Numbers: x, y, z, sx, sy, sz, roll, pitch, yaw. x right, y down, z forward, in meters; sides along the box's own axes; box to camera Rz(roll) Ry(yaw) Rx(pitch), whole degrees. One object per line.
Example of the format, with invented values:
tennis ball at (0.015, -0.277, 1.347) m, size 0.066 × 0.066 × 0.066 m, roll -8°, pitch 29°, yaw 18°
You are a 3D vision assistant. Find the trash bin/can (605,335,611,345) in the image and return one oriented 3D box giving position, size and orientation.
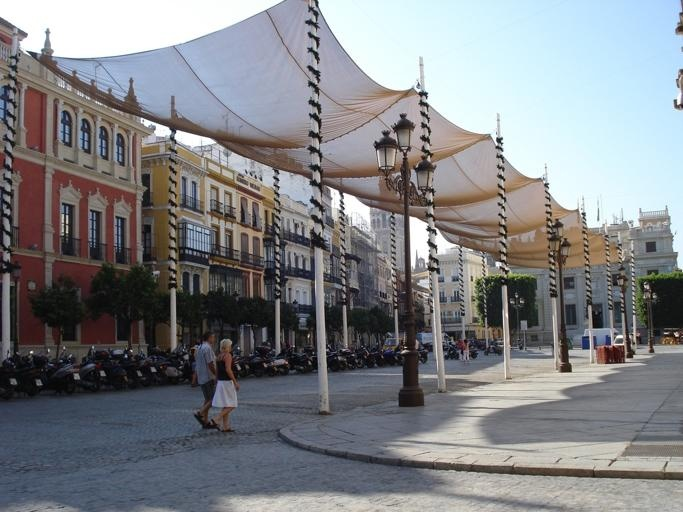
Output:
trash bin/can at (21.351, 6.647, 67.423) m, size 0.360 × 0.866 × 3.835 m, roll -6°, pitch -10°, yaw 15°

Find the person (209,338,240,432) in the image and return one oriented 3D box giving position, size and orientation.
person at (-2.651, 2.924, 19.138) m, size 0.572 × 2.094 × 1.009 m, roll -1°, pitch -10°, yaw -9°
